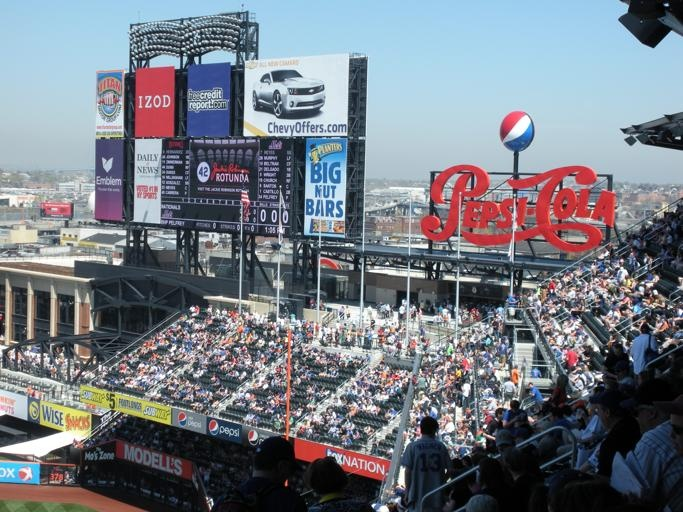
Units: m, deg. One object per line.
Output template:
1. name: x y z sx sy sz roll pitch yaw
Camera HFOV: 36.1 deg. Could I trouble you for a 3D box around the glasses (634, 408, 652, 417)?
1. glasses: 6.441 3.303 22.190 0.301 0.223 0.082 1 1 31
